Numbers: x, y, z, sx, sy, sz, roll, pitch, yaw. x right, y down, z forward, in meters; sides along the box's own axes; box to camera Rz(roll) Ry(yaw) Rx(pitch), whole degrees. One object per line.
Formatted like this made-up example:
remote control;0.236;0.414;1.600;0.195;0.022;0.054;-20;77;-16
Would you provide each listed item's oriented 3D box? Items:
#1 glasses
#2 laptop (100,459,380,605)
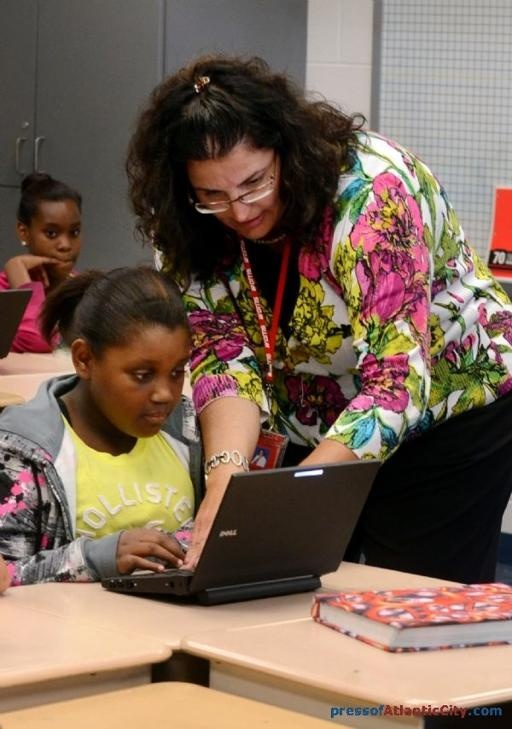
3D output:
glasses;-0.036;-0.292;1.095;0.149;0.131;0.124;4;8;7
laptop;-0.015;0.176;0.891;0.243;0.171;0.266;2;4;-42
